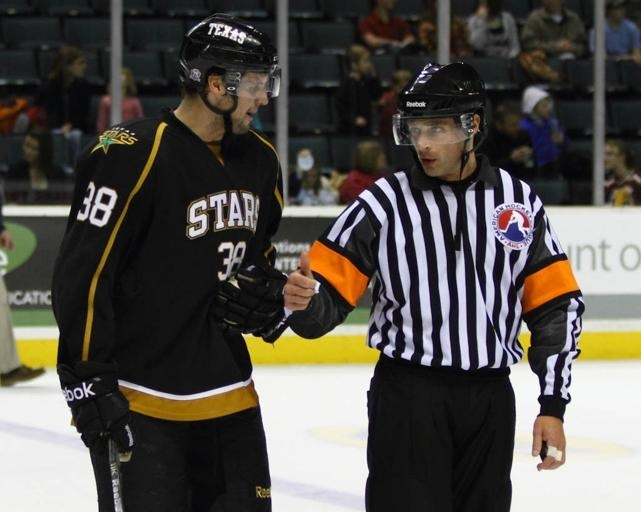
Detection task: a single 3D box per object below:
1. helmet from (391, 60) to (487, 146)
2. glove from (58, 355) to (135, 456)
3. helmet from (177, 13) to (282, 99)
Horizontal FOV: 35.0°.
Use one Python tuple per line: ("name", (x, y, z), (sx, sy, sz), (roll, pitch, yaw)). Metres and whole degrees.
("helmet", (0.423, -0.513, 3.628), (0.302, 0.366, 0.397), (6, 13, 36))
("glove", (-0.714, 0.481, 3.241), (0.234, 0.308, 0.137), (-1, 5, -11))
("helmet", (-0.304, -0.652, 3.506), (0.360, 0.334, 0.277), (11, 20, 9))
